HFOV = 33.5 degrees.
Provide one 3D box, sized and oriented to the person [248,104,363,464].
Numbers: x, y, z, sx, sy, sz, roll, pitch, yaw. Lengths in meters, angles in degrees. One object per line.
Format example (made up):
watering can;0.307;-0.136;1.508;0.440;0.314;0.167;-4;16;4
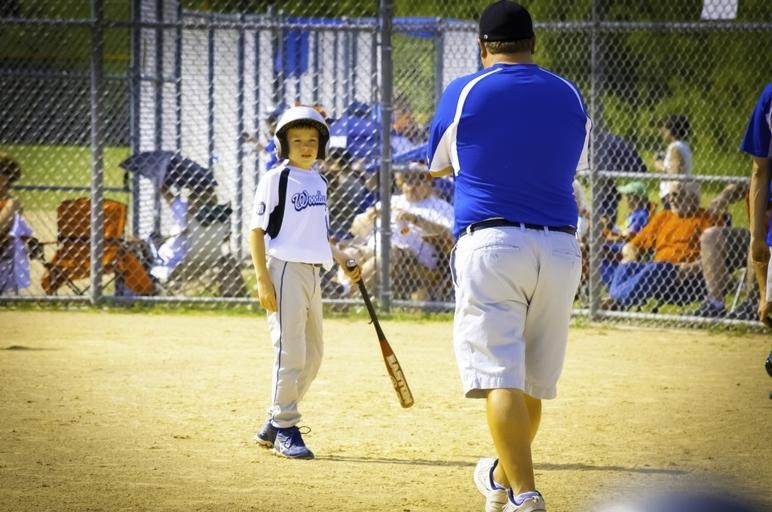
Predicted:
person;-0.749;0.194;10.584;0.756;2.845;0.576;2;5;-9

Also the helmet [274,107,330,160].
helmet;-0.715;-1.044;10.774;0.391;0.387;0.450;1;-12;-8

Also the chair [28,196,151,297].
chair;-3.114;-0.177;14.025;0.967;1.554;1.093;2;17;-11
